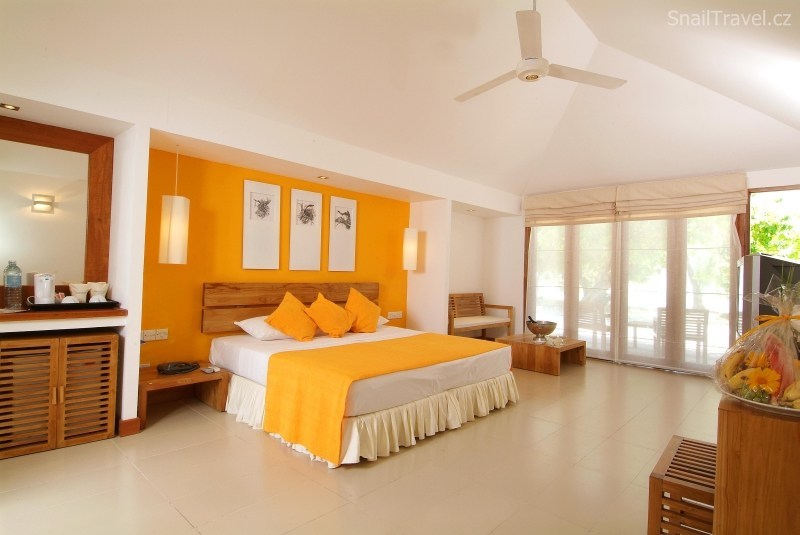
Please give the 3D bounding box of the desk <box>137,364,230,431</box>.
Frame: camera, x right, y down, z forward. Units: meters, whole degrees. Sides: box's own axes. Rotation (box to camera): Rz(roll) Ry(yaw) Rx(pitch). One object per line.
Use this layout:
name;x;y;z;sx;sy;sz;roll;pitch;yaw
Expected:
desk;-2.277;1.473;5.193;0.562;0.420;0.833;2;0;44

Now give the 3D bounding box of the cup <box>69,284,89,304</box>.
cup;-3.073;0.261;4.682;0.178;0.220;0.190;-1;-4;0

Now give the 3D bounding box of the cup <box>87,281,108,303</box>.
cup;-2.919;0.251;4.740;0.191;0.200;0.196;0;0;0

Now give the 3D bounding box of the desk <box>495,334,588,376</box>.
desk;2.033;1.261;7.112;0.738;0.284;0.743;0;-1;-43

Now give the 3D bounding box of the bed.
bed;-0.817;1.145;5.250;2.257;1.080;2.220;1;-2;-44

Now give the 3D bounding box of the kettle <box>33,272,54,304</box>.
kettle;-3.255;0.204;4.471;0.169;0.259;0.272;-9;17;-37

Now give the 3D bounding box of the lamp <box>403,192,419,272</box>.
lamp;0.187;-0.256;7.554;0.240;0.730;0.519;2;14;1

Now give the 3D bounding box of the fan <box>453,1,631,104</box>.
fan;1.134;-1.781;4.060;0.993;0.718;0.846;-5;15;-26
